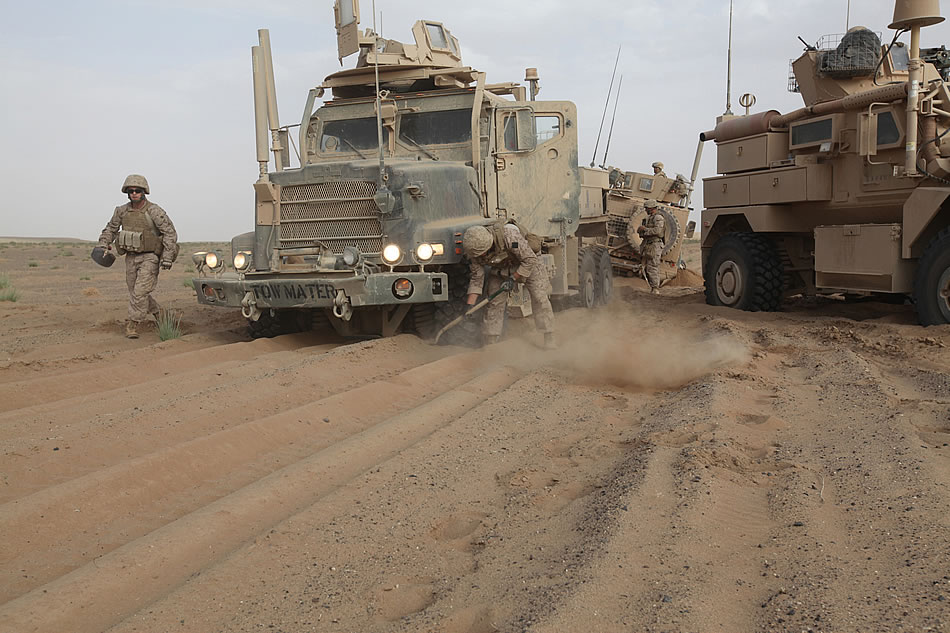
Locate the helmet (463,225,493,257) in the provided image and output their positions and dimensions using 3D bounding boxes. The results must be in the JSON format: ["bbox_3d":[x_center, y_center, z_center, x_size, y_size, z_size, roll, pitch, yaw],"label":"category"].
[{"bbox_3d":[0.053,-0.975,9.028,0.340,0.394,0.317,-11,-18,26],"label":"helmet"}]

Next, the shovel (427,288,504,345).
[{"bbox_3d":[-0.109,-0.007,9.537,0.985,0.181,0.145,-40,16,20],"label":"shovel"}]

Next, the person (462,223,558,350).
[{"bbox_3d":[0.390,-0.452,9.648,1.226,2.118,0.838,-17,30,-12],"label":"person"}]

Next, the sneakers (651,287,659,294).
[{"bbox_3d":[4.214,-0.577,16.336,0.163,0.112,0.166,1,5,29],"label":"sneakers"}]
